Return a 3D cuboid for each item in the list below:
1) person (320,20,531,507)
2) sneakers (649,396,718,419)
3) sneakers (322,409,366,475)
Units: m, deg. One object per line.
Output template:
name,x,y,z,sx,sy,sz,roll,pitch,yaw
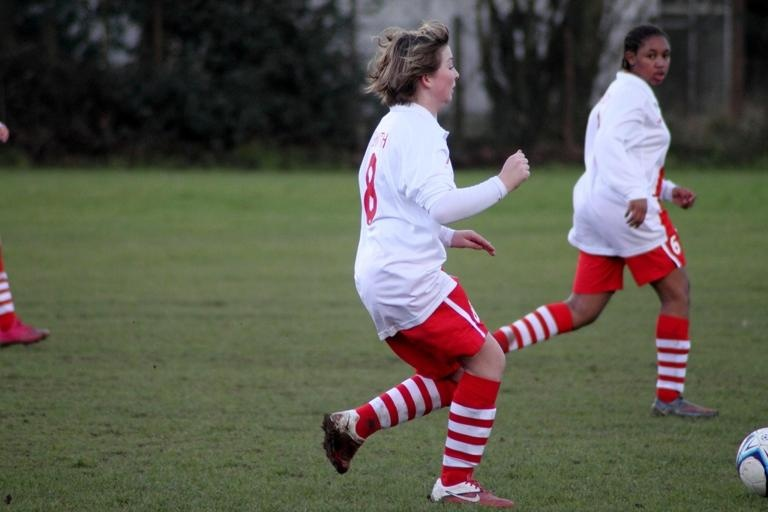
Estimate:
person,0.314,0.077,9.461,1.461,3.786,0.861,-1,13,6
sneakers,2.642,1.352,10.432,0.548,0.181,0.214,-1,1,2
sneakers,-0.336,1.480,9.493,0.291,0.528,0.238,-5,-8,-3
